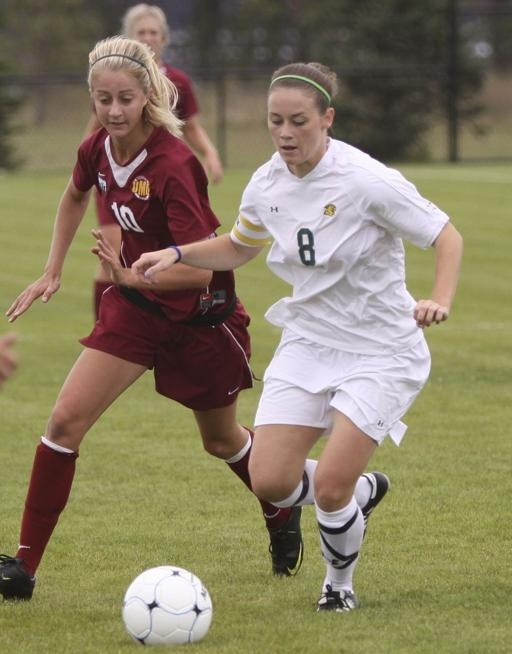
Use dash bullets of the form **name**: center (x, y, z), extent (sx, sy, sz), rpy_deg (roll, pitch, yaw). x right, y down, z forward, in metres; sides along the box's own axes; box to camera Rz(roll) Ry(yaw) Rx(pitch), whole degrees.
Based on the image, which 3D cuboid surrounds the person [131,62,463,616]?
- **person**: center (0.219, 0.005, 2.830), extent (0.874, 1.665, 0.614), rpy_deg (6, 17, 36)

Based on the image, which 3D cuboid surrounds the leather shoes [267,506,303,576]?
- **leather shoes**: center (0.120, 0.757, 3.190), extent (0.102, 0.239, 0.125), rpy_deg (-10, -10, 34)

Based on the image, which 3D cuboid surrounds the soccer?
- **soccer**: center (-0.254, 0.799, 2.559), extent (0.230, 0.171, 0.208), rpy_deg (-13, 15, -40)
